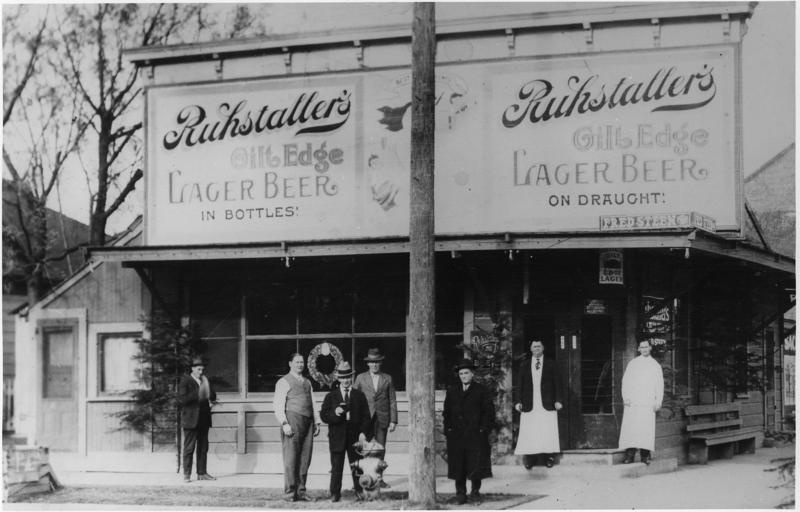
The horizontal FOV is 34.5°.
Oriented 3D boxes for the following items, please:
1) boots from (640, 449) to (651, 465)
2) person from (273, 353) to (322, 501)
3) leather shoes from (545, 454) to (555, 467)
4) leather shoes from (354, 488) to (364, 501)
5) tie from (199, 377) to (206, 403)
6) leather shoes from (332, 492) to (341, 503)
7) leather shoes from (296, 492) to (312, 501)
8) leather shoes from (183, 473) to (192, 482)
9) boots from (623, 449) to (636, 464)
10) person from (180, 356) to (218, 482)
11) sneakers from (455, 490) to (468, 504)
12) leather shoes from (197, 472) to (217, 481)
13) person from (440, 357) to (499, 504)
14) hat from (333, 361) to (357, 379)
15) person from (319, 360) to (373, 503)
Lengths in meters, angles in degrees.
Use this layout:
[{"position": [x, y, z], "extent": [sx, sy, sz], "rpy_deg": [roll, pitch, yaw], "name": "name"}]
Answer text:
[{"position": [5.506, 4.428, 28.652], "extent": [0.380, 0.329, 0.189], "rpy_deg": [9, -14, -43], "name": "boots"}, {"position": [-2.254, 3.632, 27.667], "extent": [0.898, 3.105, 0.622], "rpy_deg": [0, -10, -4], "name": "person"}, {"position": [3.330, 4.508, 28.507], "extent": [0.226, 0.259, 0.135], "rpy_deg": [-2, -10, 5], "name": "leather shoes"}, {"position": [-0.880, 5.012, 27.238], "extent": [0.227, 0.228, 0.074], "rpy_deg": [-8, -12, 34], "name": "leather shoes"}, {"position": [-4.431, 2.946, 28.739], "extent": [0.139, 0.509, 0.160], "rpy_deg": [1, -9, -17], "name": "tie"}, {"position": [-1.363, 5.071, 27.231], "extent": [0.166, 0.213, 0.120], "rpy_deg": [21, 16, 27], "name": "leather shoes"}, {"position": [-2.014, 5.119, 27.512], "extent": [0.277, 0.182, 0.250], "rpy_deg": [-8, -13, 37], "name": "leather shoes"}, {"position": [-4.764, 4.915, 28.787], "extent": [0.178, 0.176, 0.318], "rpy_deg": [1, -5, -2], "name": "leather shoes"}, {"position": [5.094, 4.389, 28.572], "extent": [0.296, 0.310, 0.115], "rpy_deg": [2, -10, -15], "name": "boots"}, {"position": [-4.593, 3.632, 29.093], "extent": [0.850, 2.830, 1.206], "rpy_deg": [1, -10, -8], "name": "person"}, {"position": [1.283, 5.046, 26.987], "extent": [0.224, 0.220, 0.087], "rpy_deg": [-12, 4, 3], "name": "sneakers"}, {"position": [-4.359, 4.916, 28.970], "extent": [0.414, 0.179, 0.175], "rpy_deg": [1, -2, -3], "name": "leather shoes"}, {"position": [1.452, 3.664, 27.302], "extent": [1.082, 3.025, 0.514], "rpy_deg": [-1, -10, 3], "name": "person"}, {"position": [-1.199, 2.400, 27.564], "extent": [0.415, 0.187, 0.481], "rpy_deg": [-4, -17, -4], "name": "hat"}, {"position": [-1.173, 3.686, 27.310], "extent": [1.047, 2.925, 0.517], "rpy_deg": [0, -10, -1], "name": "person"}]
